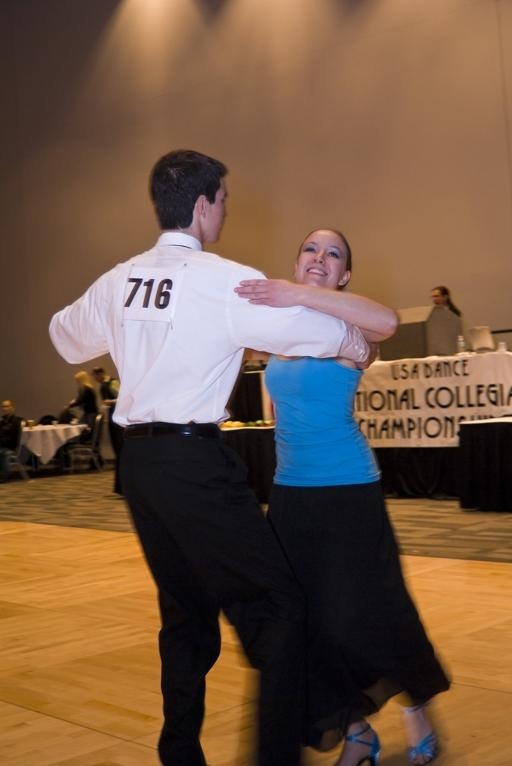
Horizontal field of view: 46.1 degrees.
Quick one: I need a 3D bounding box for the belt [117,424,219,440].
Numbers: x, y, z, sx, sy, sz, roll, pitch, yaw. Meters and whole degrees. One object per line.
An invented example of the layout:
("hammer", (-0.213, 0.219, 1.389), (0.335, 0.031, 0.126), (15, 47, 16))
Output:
("belt", (-0.143, 0.075, 0.939), (0.160, 0.027, 0.065), (-6, -7, 24))
